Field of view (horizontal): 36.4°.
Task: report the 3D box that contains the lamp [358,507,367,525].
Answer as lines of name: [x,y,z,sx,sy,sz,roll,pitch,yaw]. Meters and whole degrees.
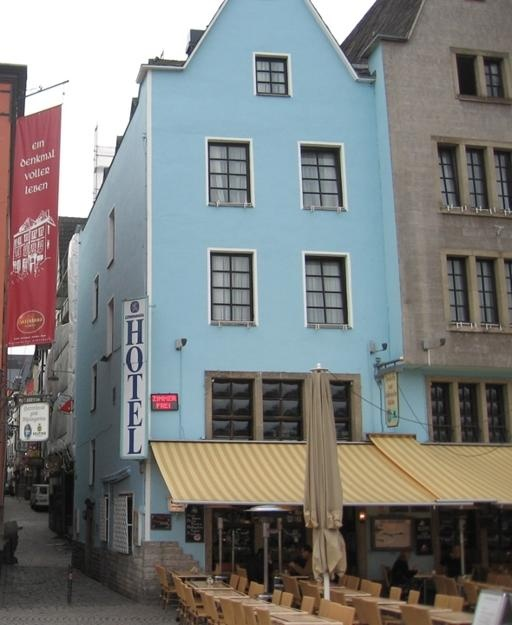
lamp: [2.585,4.996,18.976,0.211,0.544,0.253,0,-6,0]

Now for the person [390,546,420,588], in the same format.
person: [3.376,5.941,18.220,0.573,1.146,0.689,0,-1,-24]

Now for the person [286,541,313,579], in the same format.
person: [1.053,5.863,18.348,0.506,1.228,0.524,2,-20,13]
